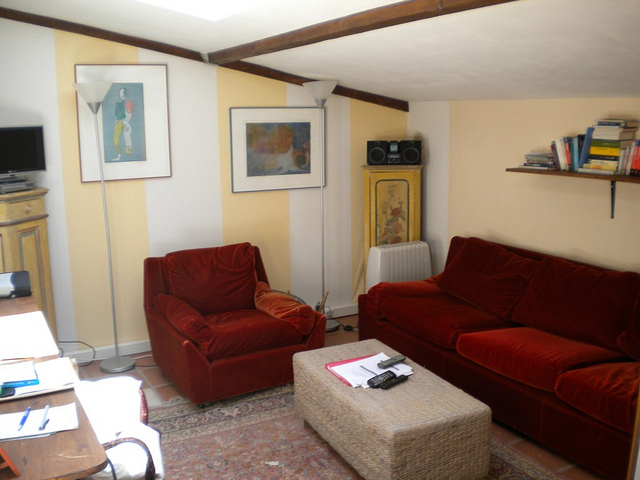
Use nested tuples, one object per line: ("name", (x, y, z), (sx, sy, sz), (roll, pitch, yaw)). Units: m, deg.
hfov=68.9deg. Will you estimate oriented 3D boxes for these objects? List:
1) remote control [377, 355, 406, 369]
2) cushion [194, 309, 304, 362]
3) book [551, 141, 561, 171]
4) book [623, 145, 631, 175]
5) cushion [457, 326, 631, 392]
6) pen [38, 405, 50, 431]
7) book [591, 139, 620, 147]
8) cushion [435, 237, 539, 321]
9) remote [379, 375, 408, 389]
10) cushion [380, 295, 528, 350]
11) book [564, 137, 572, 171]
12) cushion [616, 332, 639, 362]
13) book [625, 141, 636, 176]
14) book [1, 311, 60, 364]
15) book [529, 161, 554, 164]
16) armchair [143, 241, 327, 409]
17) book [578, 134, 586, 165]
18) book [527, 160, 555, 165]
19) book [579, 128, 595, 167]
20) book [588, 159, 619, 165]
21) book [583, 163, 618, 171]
("remote control", (0.499, 0.848, 3.271), (0.161, 0.028, 0.076), (-11, 10, -35))
("cushion", (-0.630, 0.772, 3.959), (0.897, 0.213, 0.519), (-7, 14, -23))
("book", (1.913, -0.681, 3.763), (0.025, 0.222, 0.098), (-6, 14, -20))
("book", (2.177, -0.565, 3.311), (0.033, 0.138, 0.142), (14, 5, 24))
("cushion", (1.426, 0.782, 3.223), (0.507, 0.132, 0.500), (-5, 15, -44))
("pen", (-0.954, 0.616, 1.625), (0.023, 0.006, 0.125), (3, 14, -12))
("book", (2.088, -0.707, 3.416), (0.043, 0.054, 0.199), (-7, 14, -22))
("cushion", (1.495, 0.321, 4.065), (0.219, 0.603, 0.824), (33, -4, -37))
("remote", (0.485, 0.924, 3.049), (0.210, 0.027, 0.043), (-11, 16, -35))
("cushion", (1.091, 0.633, 3.946), (0.546, 0.143, 0.530), (-3, 12, -33))
("book", (1.967, -0.703, 3.690), (0.047, 0.189, 0.194), (2, 3, 15))
("cushion", (2.073, 0.712, 3.130), (0.091, 0.163, 0.150), (-13, 18, -40))
("book", (2.188, -0.569, 3.285), (0.042, 0.174, 0.178), (7, 14, 20))
("book", (-1.358, 0.453, 2.182), (0.202, 0.023, 0.220), (-2, 26, -25))
("book", (1.831, -0.639, 3.867), (0.036, 0.024, 0.192), (-11, 16, -36))
("armchair", (-0.843, 0.592, 4.294), (1.351, 1.192, 1.388), (-5, 6, -30))
("book", (2.020, -0.696, 3.595), (0.032, 0.288, 0.218), (3, 9, 23))
("book", (1.825, -0.645, 3.863), (0.214, 0.033, 0.046), (12, 19, 44))
("book", (2.027, -0.690, 3.534), (0.038, 0.356, 0.266), (11, 16, 19))
("book", (2.076, -0.567, 3.408), (0.033, 0.038, 0.193), (-11, 16, -35))
("book", (2.062, -0.537, 3.437), (0.050, 0.040, 0.233), (-8, 15, -28))
